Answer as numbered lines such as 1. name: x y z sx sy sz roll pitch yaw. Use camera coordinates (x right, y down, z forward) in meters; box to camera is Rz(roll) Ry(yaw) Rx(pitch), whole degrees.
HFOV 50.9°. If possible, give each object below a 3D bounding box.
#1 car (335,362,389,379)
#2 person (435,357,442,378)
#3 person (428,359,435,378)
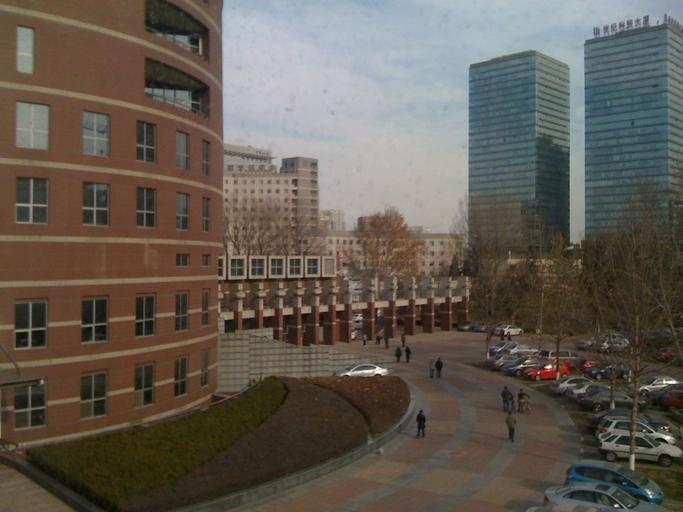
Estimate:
1. car: 1.676 9.078 56.288 3.542 1.101 1.488 3 -7 -14
2. person: 8.001 9.186 59.245 0.580 1.617 1.887 8 12 8
3. person: 7.396 9.231 58.623 0.447 1.499 1.079 7 12 5
